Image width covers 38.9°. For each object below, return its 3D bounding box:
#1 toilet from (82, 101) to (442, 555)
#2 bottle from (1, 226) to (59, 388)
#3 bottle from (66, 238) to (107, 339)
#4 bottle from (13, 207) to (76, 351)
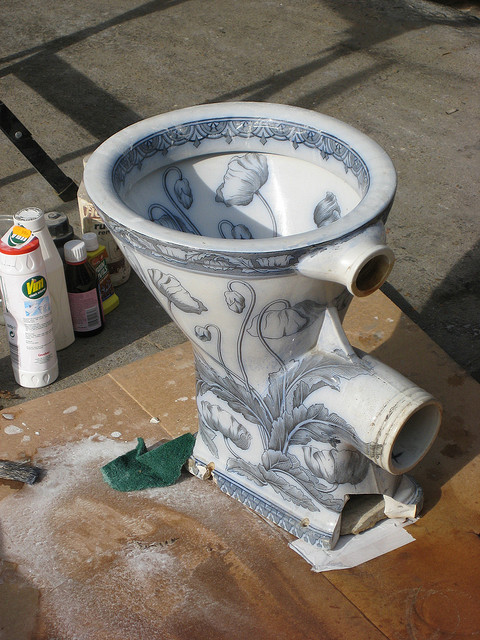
[{"bbox_3d":[0.018,0.014,1.013,0.418,0.534,0.529,-7,40,-11],"label":"toilet"},{"bbox_3d":[-0.396,-0.018,1.268,0.091,0.306,0.131,-6,42,-8],"label":"bottle"},{"bbox_3d":[-0.318,-0.065,1.401,0.089,0.174,0.080,34,48,25],"label":"bottle"},{"bbox_3d":[-0.367,-0.073,1.270,0.116,0.333,0.090,-7,50,-10],"label":"bottle"}]
